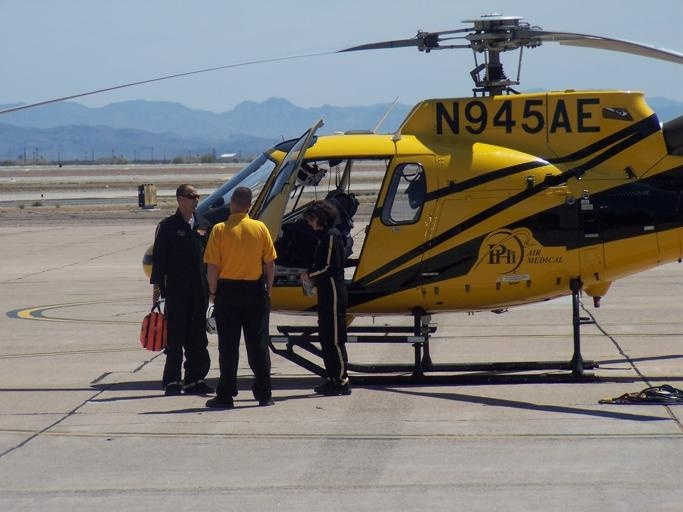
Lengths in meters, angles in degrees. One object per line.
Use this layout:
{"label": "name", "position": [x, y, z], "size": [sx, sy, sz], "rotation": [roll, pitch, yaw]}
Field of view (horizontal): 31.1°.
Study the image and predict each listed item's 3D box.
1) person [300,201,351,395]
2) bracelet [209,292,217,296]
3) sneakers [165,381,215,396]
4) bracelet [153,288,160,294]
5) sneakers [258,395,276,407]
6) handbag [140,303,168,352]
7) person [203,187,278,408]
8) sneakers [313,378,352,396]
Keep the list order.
{"label": "person", "position": [-0.181, 0.547, 15.825], "size": [0.710, 2.486, 0.492], "rotation": [2, 5, -6]}
{"label": "bracelet", "position": [-1.590, 0.472, 15.308], "size": [0.058, 0.046, 0.050], "rotation": [6, 6, 27]}
{"label": "sneakers", "position": [-1.985, 1.703, 15.993], "size": [0.725, 0.217, 0.206], "rotation": [2, -1, 2]}
{"label": "bracelet", "position": [-2.356, 0.440, 15.771], "size": [0.076, 0.035, 0.063], "rotation": [-4, -32, 13]}
{"label": "sneakers", "position": [-0.901, 1.842, 15.548], "size": [0.199, 0.147, 0.117], "rotation": [8, -10, -38]}
{"label": "handbag", "position": [-2.283, 0.897, 15.922], "size": [0.414, 0.577, 0.481], "rotation": [5, 7, 12]}
{"label": "person", "position": [-1.261, 0.531, 15.397], "size": [0.922, 2.770, 0.359], "rotation": [2, 5, -2]}
{"label": "sneakers", "position": [-0.104, 1.697, 15.861], "size": [0.595, 0.205, 0.170], "rotation": [2, 1, 4]}
